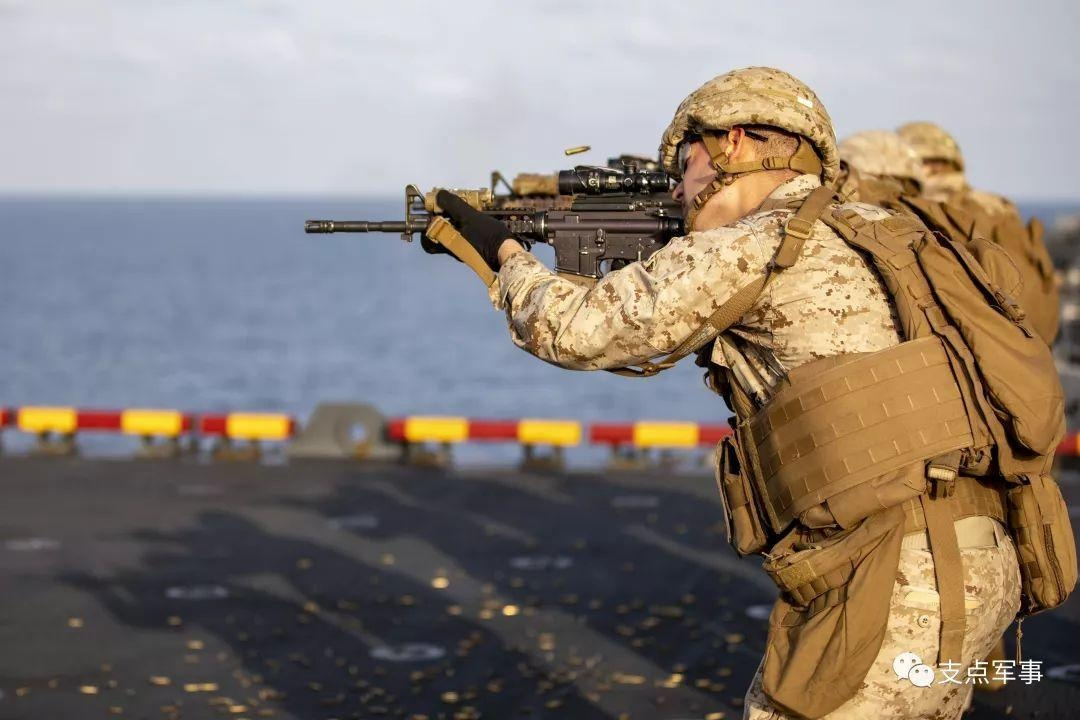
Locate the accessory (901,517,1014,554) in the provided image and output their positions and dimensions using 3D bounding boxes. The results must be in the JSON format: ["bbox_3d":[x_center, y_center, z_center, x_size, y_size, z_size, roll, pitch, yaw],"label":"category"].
[{"bbox_3d":[2.760,1.148,12.598,0.411,0.169,0.299,-5,-2,1],"label":"accessory"}]
